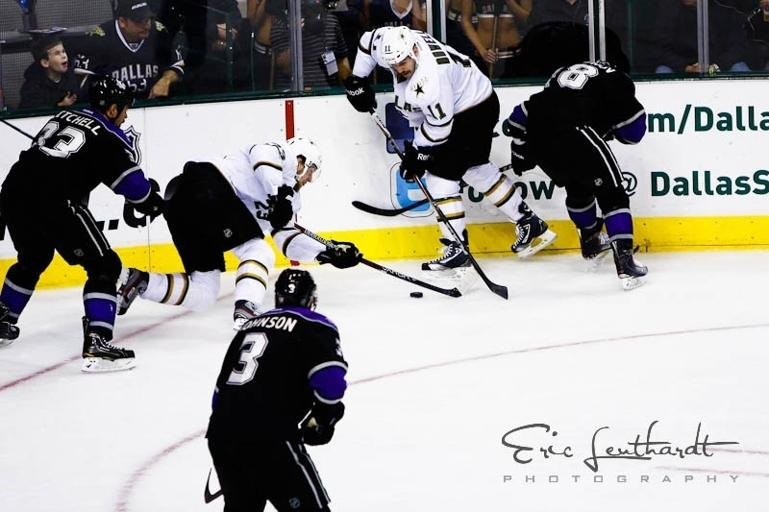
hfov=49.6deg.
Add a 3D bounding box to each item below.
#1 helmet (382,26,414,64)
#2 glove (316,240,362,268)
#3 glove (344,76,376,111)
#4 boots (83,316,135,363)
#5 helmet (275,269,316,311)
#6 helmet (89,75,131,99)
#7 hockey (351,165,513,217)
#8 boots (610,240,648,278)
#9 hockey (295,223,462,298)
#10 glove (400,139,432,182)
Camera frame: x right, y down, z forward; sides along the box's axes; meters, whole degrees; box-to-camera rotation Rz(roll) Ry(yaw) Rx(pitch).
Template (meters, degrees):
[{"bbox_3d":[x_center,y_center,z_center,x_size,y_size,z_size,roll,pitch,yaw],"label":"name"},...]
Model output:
[{"bbox_3d":[0.118,-1.521,6.153,0.232,0.254,0.246,-1,-21,23],"label":"helmet"},{"bbox_3d":[-0.315,-0.016,5.881,0.275,0.103,0.189,7,27,-9],"label":"glove"},{"bbox_3d":[-0.210,-1.286,6.642,0.218,0.298,0.164,-35,20,-3],"label":"glove"},{"bbox_3d":[-1.724,0.501,5.165,0.296,0.294,0.249,-7,11,-18],"label":"boots"},{"bbox_3d":[-0.393,0.152,3.885,0.163,0.186,0.198,2,3,2],"label":"helmet"},{"bbox_3d":[-1.762,-1.063,5.289,0.264,0.089,0.182,5,6,-3],"label":"helmet"},{"bbox_3d":[0.339,-0.543,6.782,1.347,0.184,0.109,-13,31,24],"label":"hockey"},{"bbox_3d":[1.765,0.021,6.020,0.236,0.295,0.117,-5,11,-6],"label":"boots"},{"bbox_3d":[-0.044,0.029,6.464,1.292,0.145,0.131,20,-18,3],"label":"hockey"},{"bbox_3d":[0.227,-0.717,6.394,0.124,0.294,0.216,18,35,8],"label":"glove"}]
